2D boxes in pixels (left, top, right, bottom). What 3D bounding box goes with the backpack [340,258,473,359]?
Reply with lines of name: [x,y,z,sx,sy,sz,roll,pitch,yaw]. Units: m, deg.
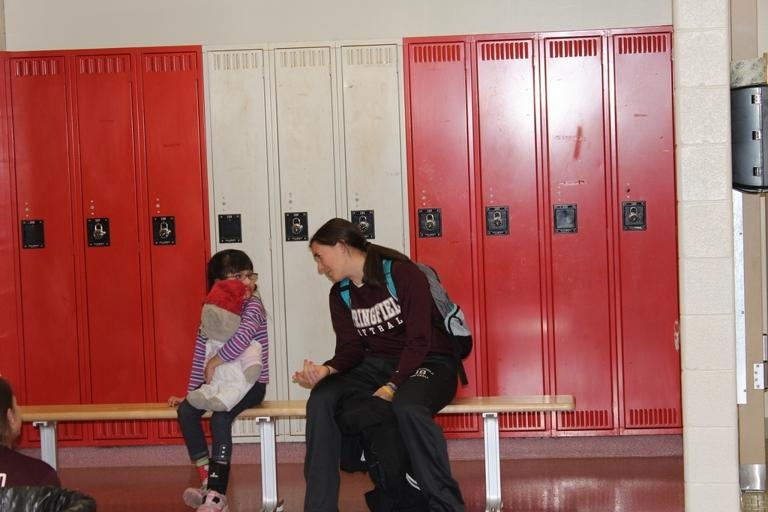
backpack: [0.097,0.328,5.571,0.872,0.752,0.485,-2,-2,-1]

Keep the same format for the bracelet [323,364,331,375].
bracelet: [-0.353,0.688,5.211,0.057,0.073,0.038,3,9,14]

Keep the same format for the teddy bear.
teddy bear: [-1.021,0.556,5.388,0.492,0.806,0.288,-4,6,-10]

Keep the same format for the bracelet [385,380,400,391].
bracelet: [0.045,0.767,5.089,0.055,0.019,0.054,25,-11,-8]
